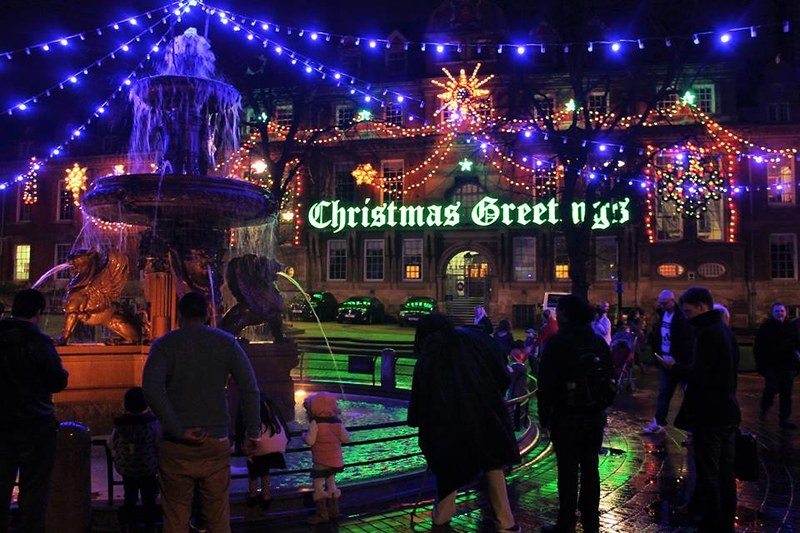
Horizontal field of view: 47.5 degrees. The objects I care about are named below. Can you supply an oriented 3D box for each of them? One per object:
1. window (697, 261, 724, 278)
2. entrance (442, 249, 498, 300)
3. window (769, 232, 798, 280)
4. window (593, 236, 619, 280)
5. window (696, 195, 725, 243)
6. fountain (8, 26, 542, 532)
[{"bbox_3d":[15.545,0.202,45.323,0.906,0.817,0.207,-1,-17,15],"label":"window"},{"bbox_3d":[3.864,0.494,49.272,3.126,3.280,0.392,-1,-31,9],"label":"entrance"},{"bbox_3d":[19.167,-0.482,45.183,1.282,2.225,0.265,-3,-7,18],"label":"window"},{"bbox_3d":[10.543,-0.397,46.493,1.175,2.334,0.456,-3,-7,12],"label":"window"},{"bbox_3d":[15.693,-2.247,45.642,1.322,2.039,0.472,-3,-7,18],"label":"window"},{"bbox_3d":[-3.527,-0.621,23.548,13.046,8.311,12.803,2,-5,-37],"label":"fountain"}]
